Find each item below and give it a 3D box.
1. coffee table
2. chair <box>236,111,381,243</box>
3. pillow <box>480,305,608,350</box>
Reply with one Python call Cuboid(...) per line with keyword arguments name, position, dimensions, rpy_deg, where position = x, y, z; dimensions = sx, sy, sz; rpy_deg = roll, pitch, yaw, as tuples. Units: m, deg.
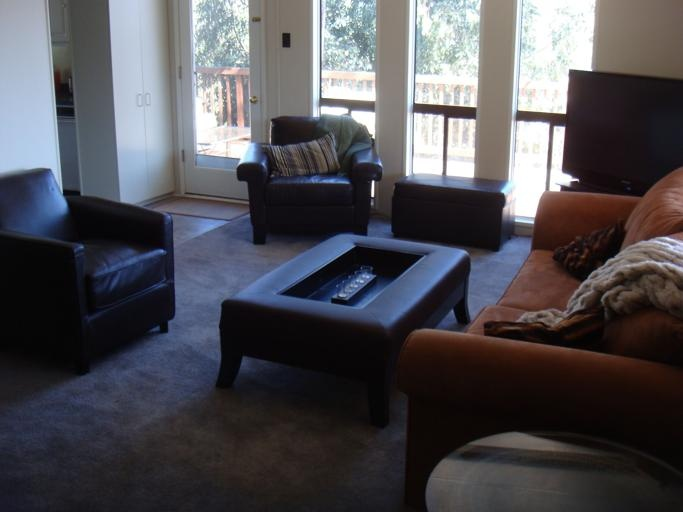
Cuboid(name="coffee table", position=(-0.054, 0.268, 2.719), dimensions=(0.872, 0.462, 1.228), rpy_deg=(7, 20, 23))
Cuboid(name="chair", position=(-0.372, -0.410, 5.337), dimensions=(1.427, 1.227, 1.143), rpy_deg=(-6, 62, -1))
Cuboid(name="pillow", position=(0.744, 0.254, 1.939), dimensions=(0.253, 0.087, 0.194), rpy_deg=(2, 10, 14))
